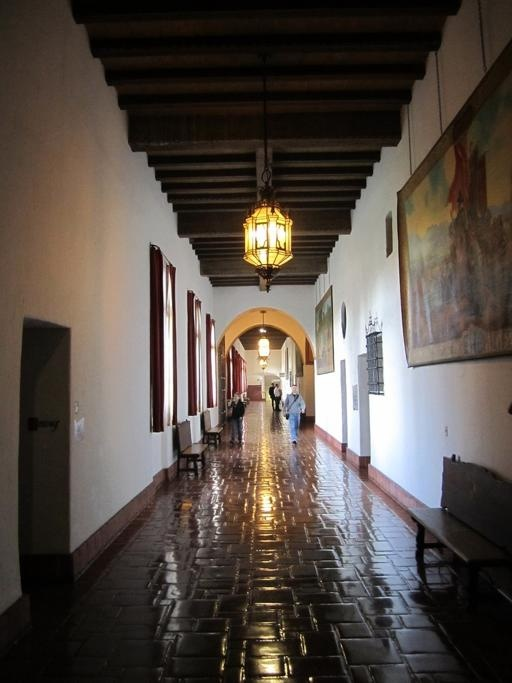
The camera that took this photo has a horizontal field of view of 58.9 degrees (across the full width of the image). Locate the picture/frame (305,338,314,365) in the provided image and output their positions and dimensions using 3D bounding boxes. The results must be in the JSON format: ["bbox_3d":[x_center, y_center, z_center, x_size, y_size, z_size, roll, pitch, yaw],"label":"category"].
[{"bbox_3d":[2.156,0.414,18.670,0.311,1.055,0.836,-1,-5,5],"label":"picture/frame"}]

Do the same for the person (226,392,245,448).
[{"bbox_3d":[-0.539,2.106,12.669,0.292,1.583,0.378,-1,16,-2],"label":"person"}]
